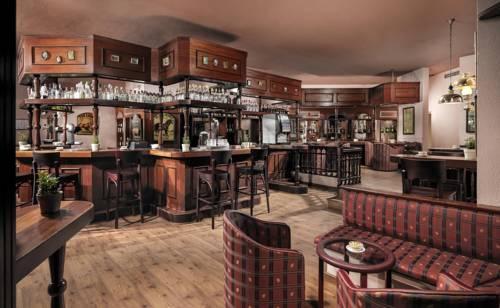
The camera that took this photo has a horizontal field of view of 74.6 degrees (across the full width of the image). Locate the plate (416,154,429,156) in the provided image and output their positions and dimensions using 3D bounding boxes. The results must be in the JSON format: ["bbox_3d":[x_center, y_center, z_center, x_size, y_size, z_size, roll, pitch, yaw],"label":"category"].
[{"bbox_3d":[3.278,0.027,6.244,0.124,0.026,0.121,1,7,15],"label":"plate"}]

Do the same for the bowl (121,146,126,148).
[{"bbox_3d":[-2.674,-0.140,6.954,0.071,0.024,0.071,-1,-2,0],"label":"bowl"}]

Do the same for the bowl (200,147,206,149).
[{"bbox_3d":[-0.987,-0.130,6.869,0.134,0.052,0.165,-1,5,-7],"label":"bowl"}]

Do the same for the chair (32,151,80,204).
[{"bbox_3d":[-3.512,0.470,6.008,0.635,0.914,0.654,0,0,6],"label":"chair"}]

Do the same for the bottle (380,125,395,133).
[{"bbox_3d":[5.712,-1.034,13.615,0.582,0.304,0.075,2,5,25],"label":"bottle"}]

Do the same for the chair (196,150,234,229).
[{"bbox_3d":[-0.649,0.622,6.300,0.828,1.335,0.777,0,3,-3],"label":"chair"}]

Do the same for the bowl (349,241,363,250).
[{"bbox_3d":[1.264,1.078,3.893,0.115,0.041,0.110,-1,0,0],"label":"bowl"}]

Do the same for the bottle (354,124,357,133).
[{"bbox_3d":[4.484,-1.058,13.936,0.133,0.309,0.027,-1,5,-3],"label":"bottle"}]

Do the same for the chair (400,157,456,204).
[{"bbox_3d":[2.816,0.404,5.174,0.713,0.987,0.611,-13,13,-40],"label":"chair"}]

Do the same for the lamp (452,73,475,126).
[{"bbox_3d":[5.072,-1.393,7.619,0.535,0.921,0.555,-5,-1,43],"label":"lamp"}]

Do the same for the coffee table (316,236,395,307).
[{"bbox_3d":[1.298,1.251,3.886,0.923,0.631,0.900,-3,3,-39],"label":"coffee table"}]

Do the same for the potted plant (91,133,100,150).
[{"bbox_3d":[-3.102,-0.227,6.558,0.121,0.295,0.253,-3,5,-29],"label":"potted plant"}]

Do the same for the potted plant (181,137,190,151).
[{"bbox_3d":[-1.293,-0.212,6.574,0.125,0.269,0.182,-1,5,-1],"label":"potted plant"}]

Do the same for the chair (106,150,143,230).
[{"bbox_3d":[-2.374,0.638,6.318,0.760,1.328,0.714,0,0,-8],"label":"chair"}]

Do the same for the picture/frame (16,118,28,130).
[{"bbox_3d":[-7.219,-0.934,10.374,0.298,0.339,0.546,-4,6,-32],"label":"picture/frame"}]

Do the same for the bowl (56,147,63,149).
[{"bbox_3d":[-3.799,-0.117,6.531,0.095,0.036,0.090,0,0,0],"label":"bowl"}]
